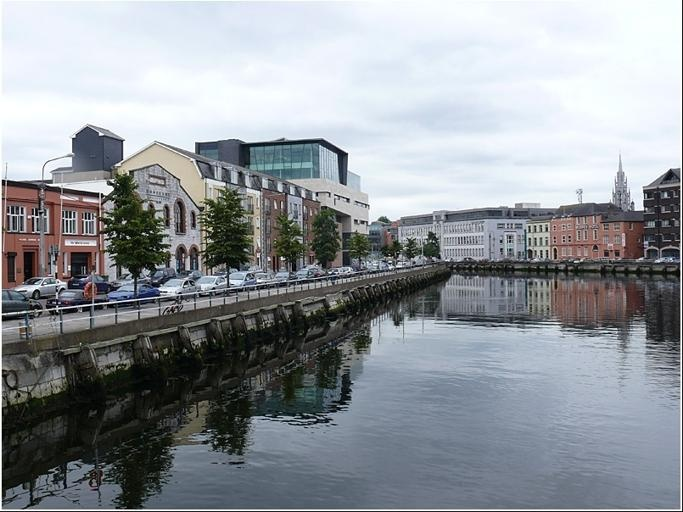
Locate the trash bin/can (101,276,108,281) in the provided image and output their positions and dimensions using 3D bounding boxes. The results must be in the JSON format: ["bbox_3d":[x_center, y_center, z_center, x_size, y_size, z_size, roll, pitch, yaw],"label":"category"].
[{"bbox_3d":[-21.950,2.006,68.157,0.689,0.359,0.652,-1,21,-16],"label":"trash bin/can"}]
